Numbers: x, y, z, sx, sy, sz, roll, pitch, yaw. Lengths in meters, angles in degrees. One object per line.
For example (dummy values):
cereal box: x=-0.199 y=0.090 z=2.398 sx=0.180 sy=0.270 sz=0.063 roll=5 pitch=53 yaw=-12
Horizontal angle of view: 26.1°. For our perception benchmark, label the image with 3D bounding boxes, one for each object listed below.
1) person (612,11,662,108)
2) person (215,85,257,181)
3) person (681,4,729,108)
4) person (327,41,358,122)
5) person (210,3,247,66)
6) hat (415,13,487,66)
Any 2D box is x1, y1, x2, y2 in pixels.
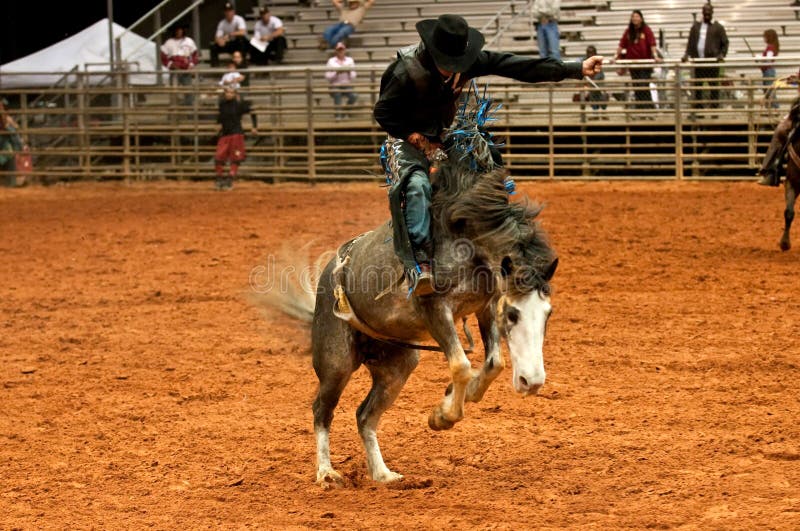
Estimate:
person: x=5.161 y=-4.620 z=37.532 sx=0.994 sy=2.207 sz=0.635 roll=0 pitch=-14 yaw=-2
person: x=-3.571 y=-2.774 z=36.597 sx=0.751 sy=2.176 sz=0.994 roll=2 pitch=8 yaw=5
person: x=6.585 y=-4.618 z=37.440 sx=0.984 sy=2.285 sz=0.508 roll=2 pitch=-4 yaw=18
person: x=-1.299 y=-3.912 z=37.471 sx=0.832 sy=1.614 sz=0.982 roll=-9 pitch=-3 yaw=34
person: x=-3.983 y=-5.333 z=39.751 sx=0.765 sy=1.409 sz=1.635 roll=-1 pitch=8 yaw=-11
hat: x=0.691 y=-3.221 z=24.705 sx=0.948 sy=0.752 sz=0.382 roll=1 pitch=8 yaw=2
